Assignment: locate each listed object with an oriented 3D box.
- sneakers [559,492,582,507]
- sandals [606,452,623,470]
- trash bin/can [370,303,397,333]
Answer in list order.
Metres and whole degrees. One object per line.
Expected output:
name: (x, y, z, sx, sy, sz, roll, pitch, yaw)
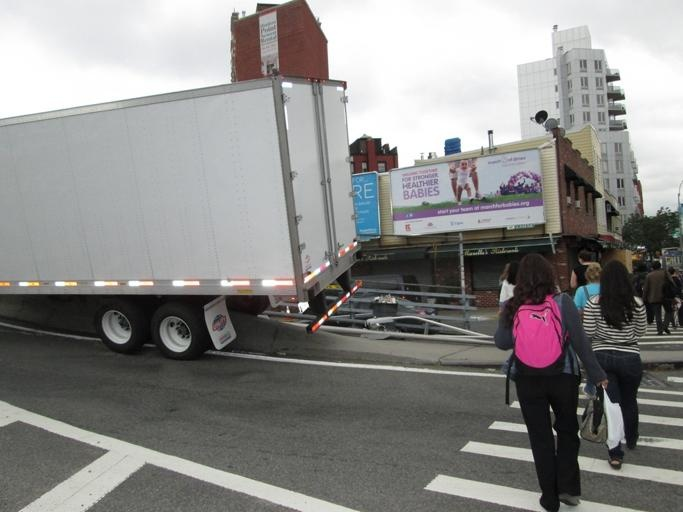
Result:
sneakers: (2.268, 2.405, 5.577, 0.068, 0.140, 0.137, -42, 17, 26)
sandals: (3.097, 2.301, 6.330, 0.086, 0.092, 0.249, -1, 7, 14)
trash bin/can: (1.046, 1.550, 13.411, 0.893, 0.651, 0.499, -2, -8, 19)
